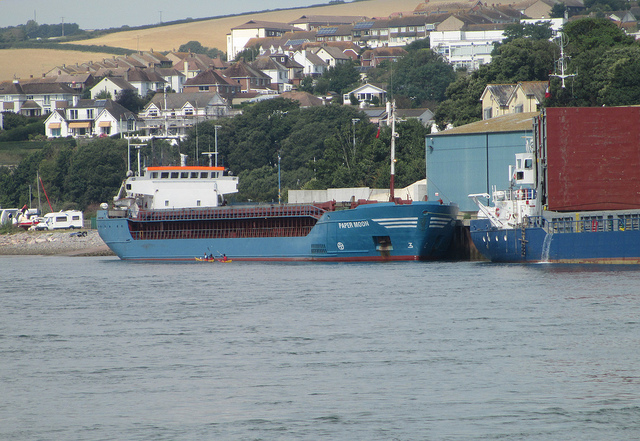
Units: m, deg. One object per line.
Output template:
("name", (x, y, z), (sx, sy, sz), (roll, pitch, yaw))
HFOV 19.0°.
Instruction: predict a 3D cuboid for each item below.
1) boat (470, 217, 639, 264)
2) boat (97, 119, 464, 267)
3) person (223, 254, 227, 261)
("boat", (22.689, 2.125, 192.672), (18.657, 4.248, 5.224), (-2, 2, 19))
("boat", (-5.002, -1.531, 203.811), (44.224, 14.406, 11.313), (-2, -8, 43))
("person", (-10.046, 4.035, 200.623), (0.249, 0.729, 0.729), (1, 0, -23))
